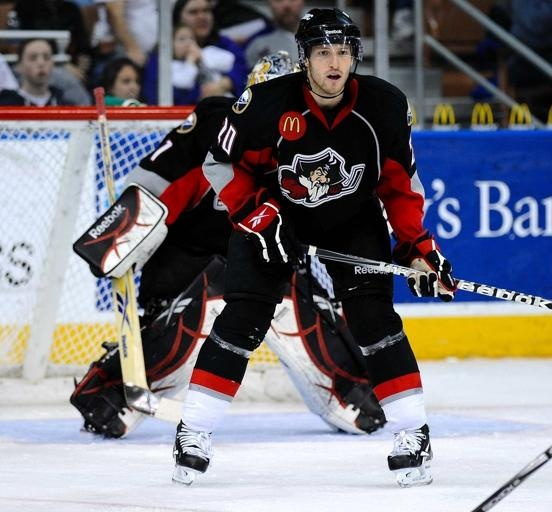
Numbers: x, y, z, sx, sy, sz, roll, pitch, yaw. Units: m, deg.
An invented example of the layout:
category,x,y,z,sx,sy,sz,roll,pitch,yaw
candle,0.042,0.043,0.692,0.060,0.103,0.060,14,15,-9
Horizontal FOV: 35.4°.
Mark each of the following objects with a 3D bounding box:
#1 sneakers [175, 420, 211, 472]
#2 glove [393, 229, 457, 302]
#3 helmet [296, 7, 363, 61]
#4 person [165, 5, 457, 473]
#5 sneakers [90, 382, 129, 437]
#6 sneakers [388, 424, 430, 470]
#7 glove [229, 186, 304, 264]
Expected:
category,x,y,z,sx,sy,sz,roll,pitch,yaw
sneakers,-0.217,0.494,2.242,0.097,0.122,0.118,-1,2,-7
glove,0.421,0.043,2.400,0.147,0.191,0.092,-32,-27,14
helmet,0.135,-0.590,2.326,0.141,0.133,0.160,0,-15,-14
person,0.112,-0.039,2.326,0.720,1.249,0.415,-1,2,9
sneakers,-0.534,0.500,2.776,0.119,0.158,0.053,-1,2,-12
sneakers,0.343,0.494,2.226,0.109,0.107,0.097,-1,2,8
glove,-0.022,-0.075,2.310,0.133,0.201,0.064,-38,-21,-6
